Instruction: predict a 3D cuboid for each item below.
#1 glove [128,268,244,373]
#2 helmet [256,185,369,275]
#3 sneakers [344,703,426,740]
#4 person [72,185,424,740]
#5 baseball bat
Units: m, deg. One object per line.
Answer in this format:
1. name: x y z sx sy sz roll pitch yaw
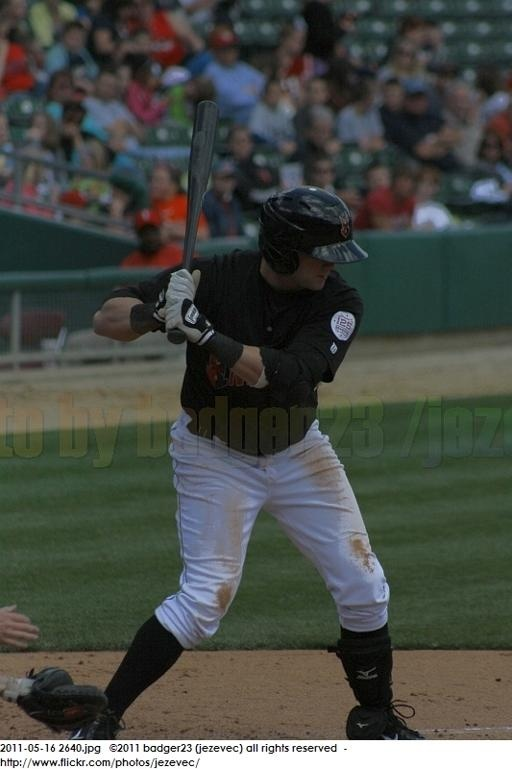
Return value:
1. glove: -0.181 -0.177 2.892 0.287 0.250 0.096 -16 -34 37
2. helmet: 0.175 -0.447 3.086 0.342 0.232 0.248 18 28 34
3. sneakers: 0.386 1.005 3.159 0.166 0.063 0.125 7 4 -16
4. person: -0.010 0.291 3.124 0.910 1.702 0.524 -4 15 -8
5. baseball bat: -0.182 -0.501 3.180 0.102 0.813 0.086 8 -26 5
